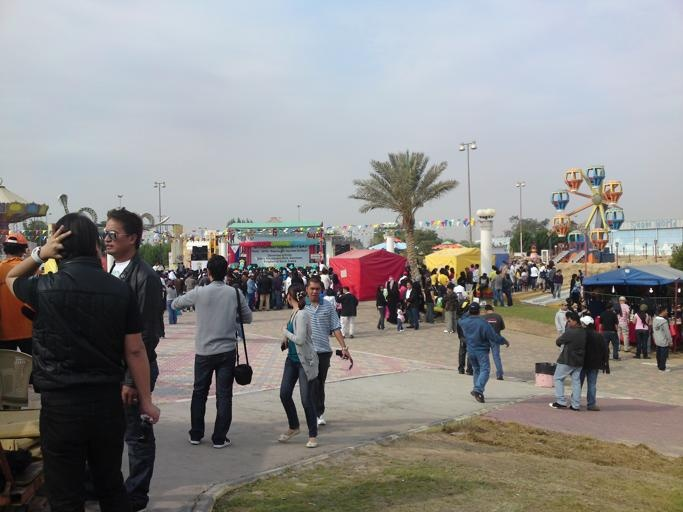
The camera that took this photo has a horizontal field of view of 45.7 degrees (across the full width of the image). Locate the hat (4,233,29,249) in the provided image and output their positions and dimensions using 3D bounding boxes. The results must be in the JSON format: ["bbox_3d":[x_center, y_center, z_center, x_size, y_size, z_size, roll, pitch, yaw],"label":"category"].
[{"bbox_3d":[-3.819,-0.172,9.511,0.221,0.113,0.163,7,0,-11],"label":"hat"}]

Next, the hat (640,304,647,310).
[{"bbox_3d":[7.625,1.305,20.345,0.147,0.110,0.144,0,-4,1],"label":"hat"}]

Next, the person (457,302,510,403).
[{"bbox_3d":[2.415,1.640,13.962,0.696,1.656,1.009,-1,-2,8],"label":"person"}]

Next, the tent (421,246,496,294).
[{"bbox_3d":[4.570,0.415,31.911,1.796,1.129,1.774,4,-7,-41],"label":"tent"}]

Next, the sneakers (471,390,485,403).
[{"bbox_3d":[2.300,2.362,13.586,0.221,0.192,0.277,-1,-2,9],"label":"sneakers"}]

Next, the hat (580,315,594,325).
[{"bbox_3d":[4.371,1.208,14.433,0.182,0.052,0.168,-30,36,-30],"label":"hat"}]

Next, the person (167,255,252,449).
[{"bbox_3d":[-1.578,1.183,10.119,0.894,2.380,0.421,-1,-2,-8],"label":"person"}]

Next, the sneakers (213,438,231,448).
[{"bbox_3d":[-1.463,2.319,10.041,0.130,0.109,0.275,-3,-3,40],"label":"sneakers"}]

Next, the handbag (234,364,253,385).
[{"bbox_3d":[-1.194,1.480,10.064,0.226,0.244,0.246,1,-4,-40],"label":"handbag"}]

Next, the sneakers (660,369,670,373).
[{"bbox_3d":[7.452,2.635,18.556,0.243,0.101,0.082,-3,3,-25],"label":"sneakers"}]

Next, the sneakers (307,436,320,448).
[{"bbox_3d":[-0.368,2.359,10.318,0.160,0.125,0.347,-1,-2,-1],"label":"sneakers"}]

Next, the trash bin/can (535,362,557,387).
[{"bbox_3d":[3.899,2.307,15.668,0.435,0.438,0.428,1,-4,-3],"label":"trash bin/can"}]

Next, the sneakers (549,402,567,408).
[{"bbox_3d":[3.651,2.533,13.660,0.252,0.099,0.101,4,1,38],"label":"sneakers"}]

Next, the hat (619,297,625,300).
[{"bbox_3d":[7.569,1.167,21.778,0.123,0.085,0.170,1,-3,10],"label":"hat"}]

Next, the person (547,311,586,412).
[{"bbox_3d":[3.944,1.816,14.085,0.617,1.595,1.135,-1,-2,17],"label":"person"}]

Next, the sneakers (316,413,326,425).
[{"bbox_3d":[-0.287,2.283,11.291,0.154,0.184,0.438,1,-12,-6],"label":"sneakers"}]

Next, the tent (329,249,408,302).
[{"bbox_3d":[1.240,0.815,33.532,2.425,1.461,2.417,2,-4,-35],"label":"tent"}]
